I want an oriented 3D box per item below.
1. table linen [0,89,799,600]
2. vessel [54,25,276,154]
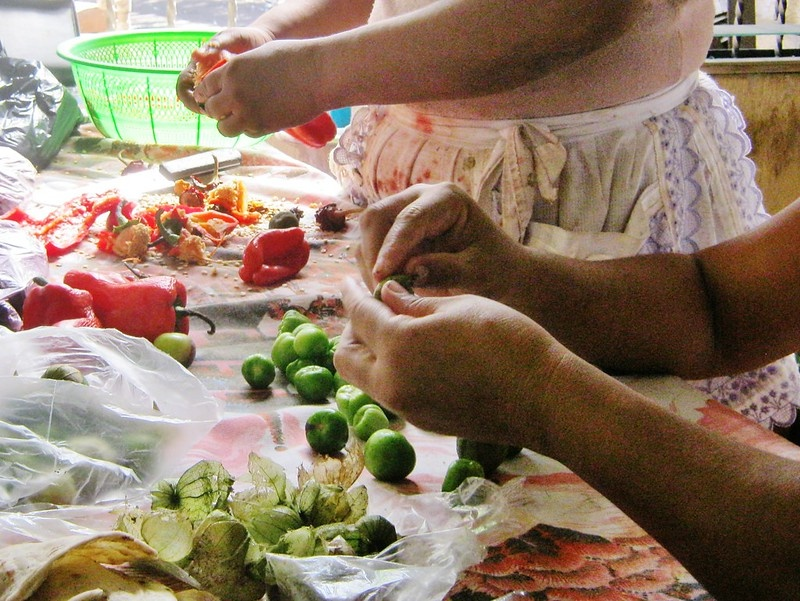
[{"bbox_3d":[0.229,0.090,1.371,0.894,0.247,0.815,-1,30,7],"label":"table linen"},{"bbox_3d":[-0.905,-0.776,2.844,0.517,0.167,0.520,-5,2,45],"label":"vessel"}]
